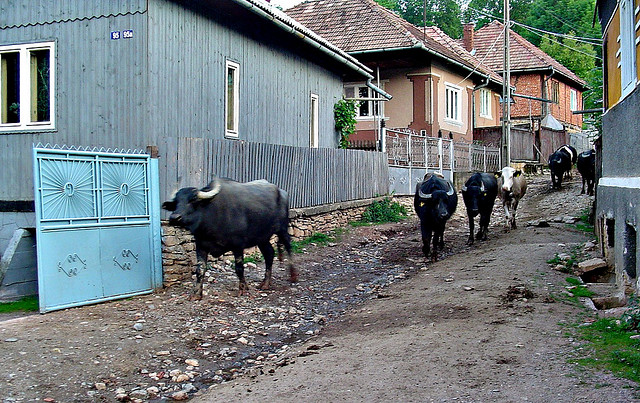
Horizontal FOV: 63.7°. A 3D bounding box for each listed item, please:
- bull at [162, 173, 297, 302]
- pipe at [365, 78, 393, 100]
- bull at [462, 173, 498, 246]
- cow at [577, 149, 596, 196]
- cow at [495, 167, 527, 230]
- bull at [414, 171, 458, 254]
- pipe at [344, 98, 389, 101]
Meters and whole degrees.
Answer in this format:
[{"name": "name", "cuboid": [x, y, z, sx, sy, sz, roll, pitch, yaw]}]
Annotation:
[{"name": "bull", "cuboid": [-1.954, 0.841, 11.840, 0.881, 2.799, 2.921, 5, 13, 40]}, {"name": "pipe", "cuboid": [2.790, -5.462, 24.533, 0.955, 1.007, 3.612, -2, 10, 8]}, {"name": "bull", "cuboid": [5.026, 0.137, 16.220, 0.914, 1.863, 2.446, 1, 2, 20]}, {"name": "cow", "cuboid": [12.009, -1.442, 23.287, 0.641, 1.984, 1.742, 1, 11, 24]}, {"name": "cow", "cuboid": [6.787, -0.234, 18.533, 0.919, 2.136, 2.628, 0, 11, 20]}, {"name": "bull", "cuboid": [3.456, 0.275, 15.610, 1.259, 2.310, 4.040, -1, 6, 13]}, {"name": "pipe", "cuboid": [2.249, -4.859, 24.201, 1.283, 0.125, 4.329, 0, 11, 15]}]
